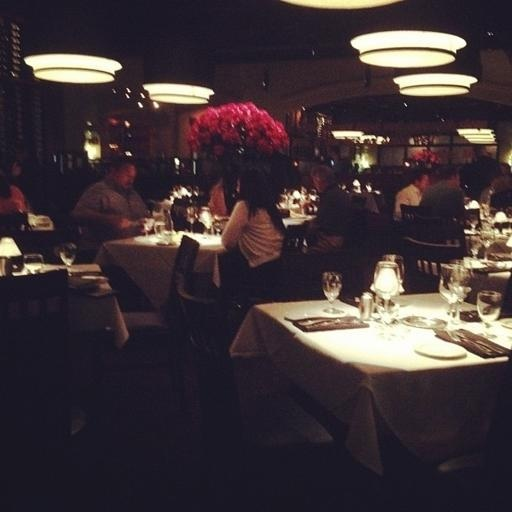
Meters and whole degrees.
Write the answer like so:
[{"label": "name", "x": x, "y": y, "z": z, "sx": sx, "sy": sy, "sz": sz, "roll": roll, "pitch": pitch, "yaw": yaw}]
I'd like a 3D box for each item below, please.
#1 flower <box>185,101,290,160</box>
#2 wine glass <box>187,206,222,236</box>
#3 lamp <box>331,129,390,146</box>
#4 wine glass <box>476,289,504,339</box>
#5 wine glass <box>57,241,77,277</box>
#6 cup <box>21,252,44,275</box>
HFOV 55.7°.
[{"label": "flower", "x": -0.177, "y": -1.208, "z": 4.824, "sx": 0.668, "sy": 0.550, "sz": 0.596, "roll": 2, "pitch": 9, "yaw": -7}, {"label": "wine glass", "x": -0.508, "y": -0.365, "z": 4.847, "sx": 0.287, "sy": 0.379, "sz": 0.302, "roll": 2, "pitch": 14, "yaw": 2}, {"label": "lamp", "x": 4.000, "y": -4.536, "z": 18.417, "sx": 1.307, "sy": 0.370, "sz": 1.370, "roll": 4, "pitch": 1, "yaw": 39}, {"label": "wine glass", "x": 0.896, "y": 0.205, "z": 1.872, "sx": 0.080, "sy": 0.192, "sz": 0.284, "roll": 4, "pitch": 11, "yaw": 27}, {"label": "wine glass", "x": -1.157, "y": 0.014, "z": 2.962, "sx": 0.122, "sy": 0.210, "sz": 0.109, "roll": -10, "pitch": 30, "yaw": -33}, {"label": "cup", "x": -1.194, "y": 0.042, "z": 2.589, "sx": 0.081, "sy": 0.113, "sz": 0.091, "roll": 0, "pitch": 9, "yaw": -3}]
